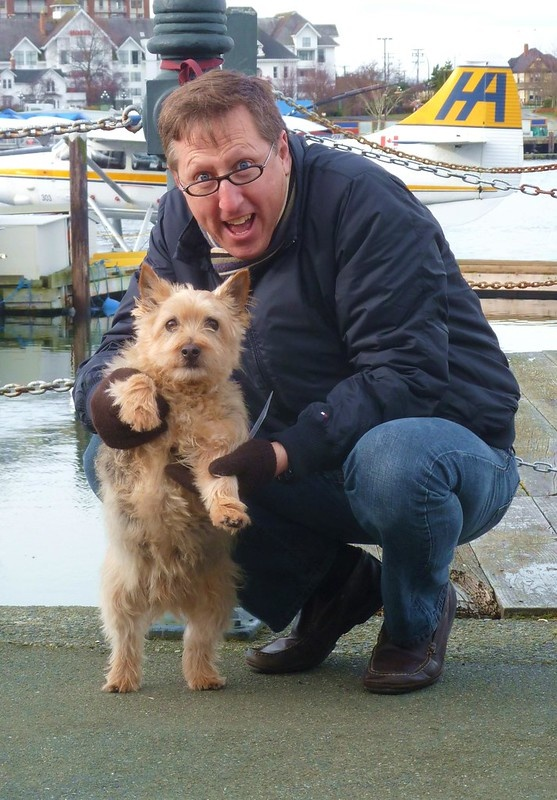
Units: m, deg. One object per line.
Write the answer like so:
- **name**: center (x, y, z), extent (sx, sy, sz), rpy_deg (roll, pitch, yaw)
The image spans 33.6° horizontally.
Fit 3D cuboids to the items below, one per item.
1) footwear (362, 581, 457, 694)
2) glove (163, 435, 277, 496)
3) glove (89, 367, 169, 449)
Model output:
- **footwear**: center (0.345, 0.650, 2.407), extent (0.122, 0.112, 0.320), rpy_deg (0, 8, 22)
- **glove**: center (-0.176, 0.140, 2.253), extent (0.298, 0.066, 0.248), rpy_deg (-18, 26, -41)
- **glove**: center (-0.389, 0.021, 2.382), extent (0.210, 0.207, 0.138), rpy_deg (-2, 2, 1)
